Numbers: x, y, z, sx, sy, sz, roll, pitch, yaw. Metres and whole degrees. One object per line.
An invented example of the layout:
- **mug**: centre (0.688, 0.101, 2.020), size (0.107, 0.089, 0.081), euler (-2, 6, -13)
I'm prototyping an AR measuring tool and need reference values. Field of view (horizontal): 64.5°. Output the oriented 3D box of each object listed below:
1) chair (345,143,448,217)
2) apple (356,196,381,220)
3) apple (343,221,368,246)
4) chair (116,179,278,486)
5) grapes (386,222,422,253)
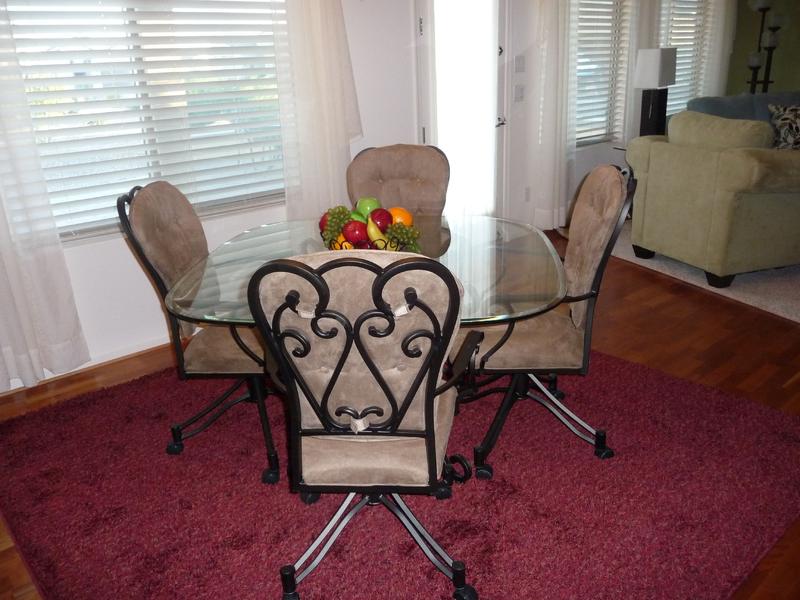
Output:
- **chair**: centre (-0.018, -0.646, 3.465), size (0.556, 0.335, 0.310), euler (1, 25, 11)
- **apple**: centre (-0.139, -0.395, 2.775), size (0.110, 0.136, 0.101), euler (-1, 16, -15)
- **apple**: centre (-0.179, -0.271, 2.593), size (0.095, 0.103, 0.095), euler (-1, 17, -2)
- **chair**: centre (-0.798, 0.037, 3.108), size (0.795, 1.305, 0.843), euler (-1, 27, 5)
- **grapes**: centre (0.019, -0.274, 2.659), size (0.113, 0.090, 0.127), euler (15, 12, -3)
